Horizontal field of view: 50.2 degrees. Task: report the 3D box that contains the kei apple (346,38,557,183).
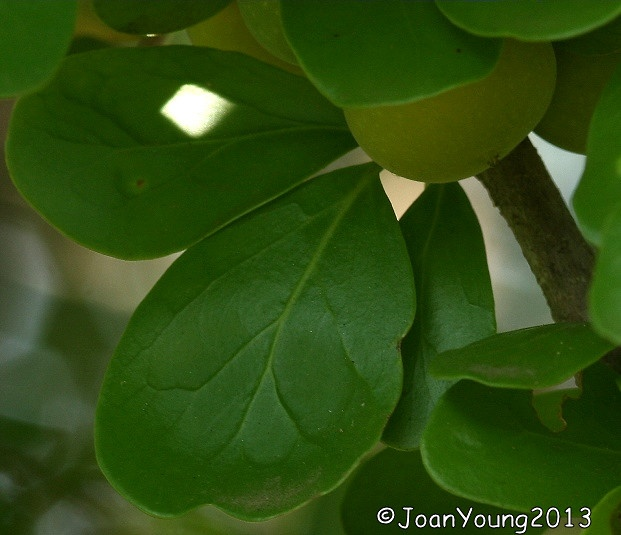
[{"bbox_3d":[0.083,-0.099,0.401,0.089,0.063,0.090,-35,6,7],"label":"kei apple"}]
